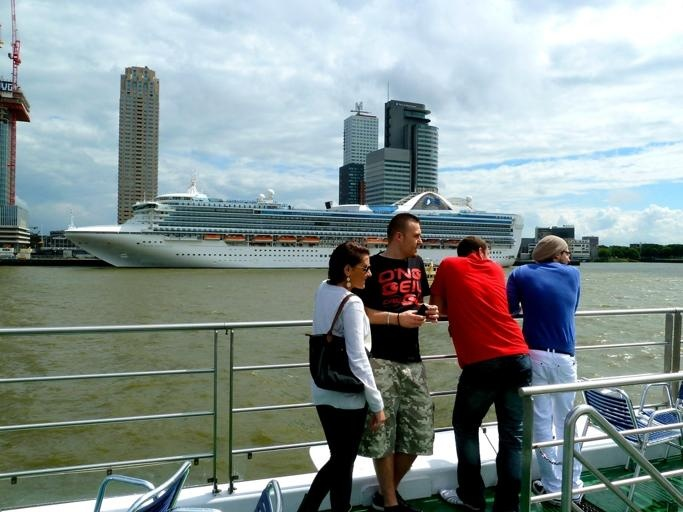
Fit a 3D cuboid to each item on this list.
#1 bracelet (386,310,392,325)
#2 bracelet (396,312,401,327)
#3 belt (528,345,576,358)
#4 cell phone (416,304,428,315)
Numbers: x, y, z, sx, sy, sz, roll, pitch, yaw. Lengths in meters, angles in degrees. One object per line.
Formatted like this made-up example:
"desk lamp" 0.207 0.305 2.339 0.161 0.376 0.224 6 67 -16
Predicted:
"bracelet" 0.420 0.547 5.699 0.036 0.100 0.016 1 3 3
"bracelet" 0.492 0.556 5.696 0.030 0.105 0.026 1 3 7
"belt" 1.946 0.869 6.106 0.377 0.100 0.080 1 4 7
"cell phone" 0.711 0.477 5.754 0.029 0.108 0.058 2 -14 45
